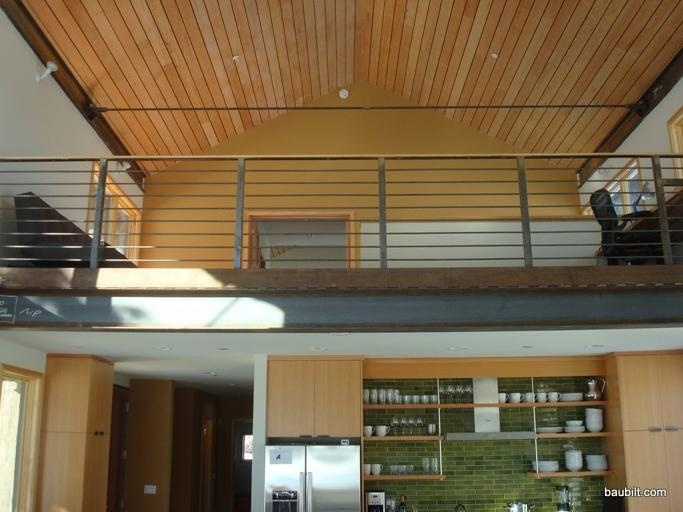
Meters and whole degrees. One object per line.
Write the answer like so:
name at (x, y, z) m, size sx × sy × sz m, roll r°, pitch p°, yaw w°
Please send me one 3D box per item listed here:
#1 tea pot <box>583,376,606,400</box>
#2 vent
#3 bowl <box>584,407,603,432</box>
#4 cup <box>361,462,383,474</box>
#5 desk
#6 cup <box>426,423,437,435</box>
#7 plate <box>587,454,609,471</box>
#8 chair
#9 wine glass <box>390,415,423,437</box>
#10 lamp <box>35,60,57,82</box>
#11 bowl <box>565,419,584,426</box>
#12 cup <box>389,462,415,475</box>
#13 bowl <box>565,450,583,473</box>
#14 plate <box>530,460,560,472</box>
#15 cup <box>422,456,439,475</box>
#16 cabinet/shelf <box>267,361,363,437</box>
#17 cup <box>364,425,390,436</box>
tea pot at (3.194, 1.686, 7.782) m, size 0.328 × 0.287 × 0.222 m, roll 7°, pitch -15°, yaw -11°
vent at (1.833, 1.920, 7.830) m, size 1.192 × 0.696 × 0.539 m, roll -2°, pitch -3°, yaw 0°
bowl at (3.155, 2.056, 7.673) m, size 0.227 × 0.311 × 0.230 m, roll 9°, pitch -21°, yaw 3°
cup at (0.373, 2.608, 7.477) m, size 0.208 × 0.123 × 0.142 m, roll 1°, pitch -32°, yaw 2°
desk at (3.143, -0.331, 6.515) m, size 0.665 × 0.707 × 0.942 m, roll -4°, pitch -11°, yaw 4°
cup at (1.130, 2.179, 7.700) m, size 0.152 × 0.141 × 0.138 m, roll 1°, pitch -2°, yaw 0°
plate at (3.161, 2.564, 7.584) m, size 0.219 × 0.151 × 0.219 m, roll 6°, pitch -9°, yaw -44°
chair at (3.110, -0.318, 6.695) m, size 0.766 × 0.916 × 0.867 m, roll -5°, pitch -14°, yaw 19°
wine glass at (0.824, 2.145, 7.726) m, size 0.459 × 0.252 × 0.250 m, roll -2°, pitch -21°, yaw 3°
lamp at (-3.184, -1.980, 6.626) m, size 0.159 × 0.296 × 0.226 m, roll 2°, pitch -21°, yaw -6°
bowl at (2.974, 2.136, 7.816) m, size 0.236 × 0.091 × 0.197 m, roll -5°, pitch -20°, yaw 13°
cup at (0.721, 2.616, 7.509) m, size 0.202 × 0.063 × 0.153 m, roll -6°, pitch -11°, yaw 27°
bowl at (2.885, 2.558, 7.629) m, size 0.289 × 0.279 × 0.261 m, roll 2°, pitch -15°, yaw 2°
plate at (2.573, 2.646, 7.698) m, size 0.352 × 0.144 × 0.299 m, roll -4°, pitch -20°, yaw 8°
cup at (1.101, 2.605, 7.599) m, size 0.213 × 0.205 × 0.184 m, roll -3°, pitch -21°, yaw 5°
cabinet/shelf at (-0.364, 1.752, 7.345) m, size 1.025 × 0.704 × 0.325 m, roll 0°, pitch -14°, yaw 0°
cup at (0.423, 2.175, 7.612) m, size 0.268 × 0.090 × 0.152 m, roll -2°, pitch -19°, yaw 4°
